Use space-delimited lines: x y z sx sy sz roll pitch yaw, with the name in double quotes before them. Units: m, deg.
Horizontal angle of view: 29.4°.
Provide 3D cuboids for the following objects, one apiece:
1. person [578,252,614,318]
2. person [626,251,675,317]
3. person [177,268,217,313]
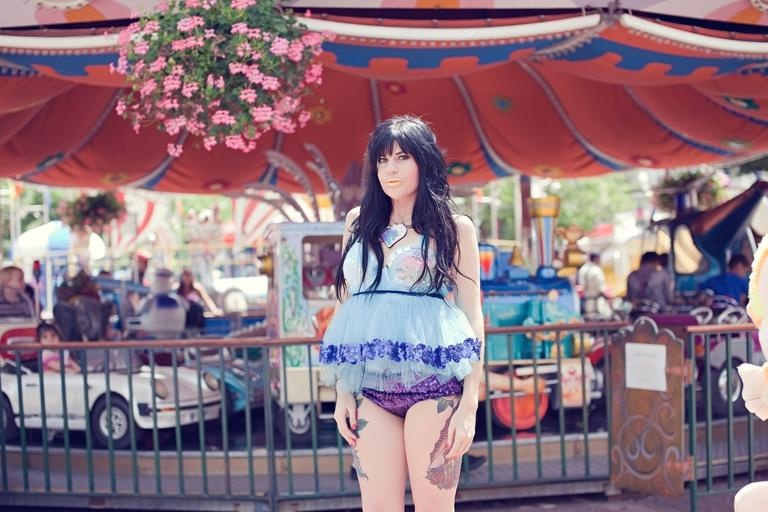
"person" 2.384 0.342 16.518 0.438 0.712 0.320 0 -11 -8
"person" 3.232 0.349 17.607 0.616 0.823 0.431 0 -35 11
"person" -2.341 0.429 18.411 0.504 0.701 0.834 0 -11 -9
